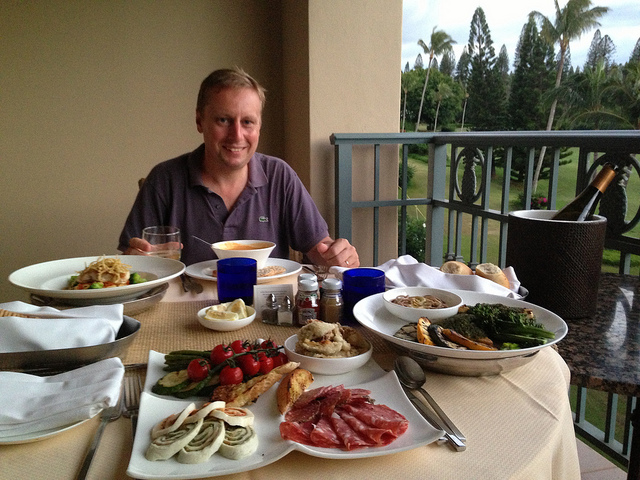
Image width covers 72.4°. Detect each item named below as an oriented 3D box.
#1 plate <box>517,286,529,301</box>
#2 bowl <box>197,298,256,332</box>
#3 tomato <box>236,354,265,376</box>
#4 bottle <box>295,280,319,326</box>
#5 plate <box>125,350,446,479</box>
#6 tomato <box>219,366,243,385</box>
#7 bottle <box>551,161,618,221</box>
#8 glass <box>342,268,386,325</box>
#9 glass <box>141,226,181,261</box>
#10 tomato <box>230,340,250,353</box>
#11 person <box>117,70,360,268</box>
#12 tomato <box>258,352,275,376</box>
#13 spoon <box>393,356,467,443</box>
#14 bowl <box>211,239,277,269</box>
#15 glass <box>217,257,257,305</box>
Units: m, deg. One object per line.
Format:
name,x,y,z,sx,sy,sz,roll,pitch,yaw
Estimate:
plate,0.553,0.142,1.204,0.040,0.019,0.041,-2,13,-4
bowl,-0.261,0.202,1.205,0.156,0.067,0.159,-3,10,1
tomato,-0.142,0.251,0.917,0.044,0.050,0.041,25,-21,-11
bottle,-0.031,0.160,1.183,0.076,0.129,0.078,0,27,0
plate,-0.080,0.302,0.863,0.525,0.064,0.434,-5,13,-15
tomato,-0.175,0.264,0.861,0.033,0.035,0.034,2,3,9
bottle,0.776,-0.142,1.288,0.152,0.174,0.132,11,18,44
glass,0.099,0.151,1.219,0.125,0.147,0.132,0,5,-3
glass,-0.570,-0.002,1.608,0.130,0.137,0.133,1,6,-5
tomato,-0.175,0.228,0.937,0.026,0.027,0.027,8,13,-5
person,-0.404,-0.308,2.248,1.193,1.026,0.872,-1,15,-10
tomato,-0.111,0.254,0.909,0.031,0.039,0.035,1,3,12
spoon,0.214,0.309,0.843,0.050,0.039,0.261,-14,25,-11
bowl,-0.284,0.031,1.630,0.149,0.060,0.147,1,10,0
glass,-0.241,0.111,1.303,0.125,0.136,0.119,-1,9,-11
